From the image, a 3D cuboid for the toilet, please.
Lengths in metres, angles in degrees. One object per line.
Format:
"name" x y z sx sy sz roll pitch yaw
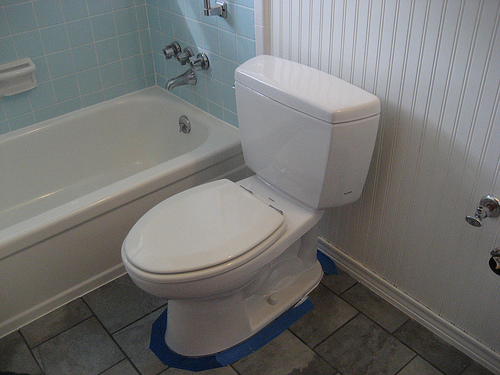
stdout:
"toilet" -0.061 0.136 1.599 0.943 1.062 0.647 -25 40 -33
